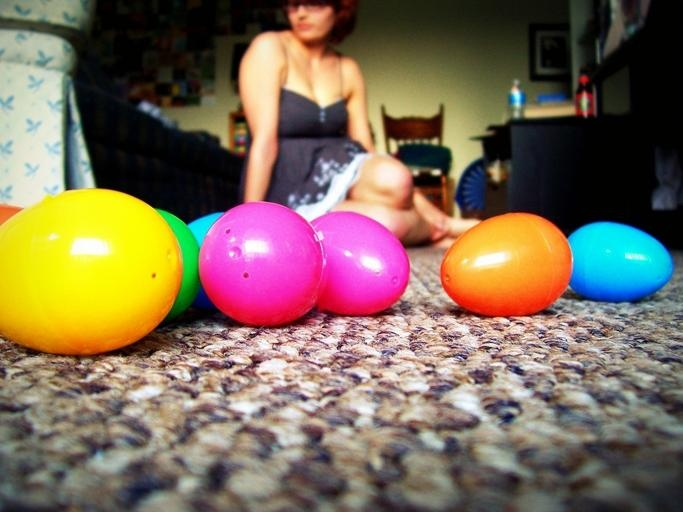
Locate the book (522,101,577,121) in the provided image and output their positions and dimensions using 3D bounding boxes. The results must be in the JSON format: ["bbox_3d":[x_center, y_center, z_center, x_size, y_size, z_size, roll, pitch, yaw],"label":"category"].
[{"bbox_3d":[0.759,-0.537,2.089,0.178,0.064,0.121,1,7,15],"label":"book"}]

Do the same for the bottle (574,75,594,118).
[{"bbox_3d":[0.884,-0.584,2.096,0.067,0.171,0.068,2,-8,0],"label":"bottle"}]

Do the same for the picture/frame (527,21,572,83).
[{"bbox_3d":[1.739,-1.681,4.743,0.357,0.537,0.047,3,-16,8],"label":"picture/frame"}]
